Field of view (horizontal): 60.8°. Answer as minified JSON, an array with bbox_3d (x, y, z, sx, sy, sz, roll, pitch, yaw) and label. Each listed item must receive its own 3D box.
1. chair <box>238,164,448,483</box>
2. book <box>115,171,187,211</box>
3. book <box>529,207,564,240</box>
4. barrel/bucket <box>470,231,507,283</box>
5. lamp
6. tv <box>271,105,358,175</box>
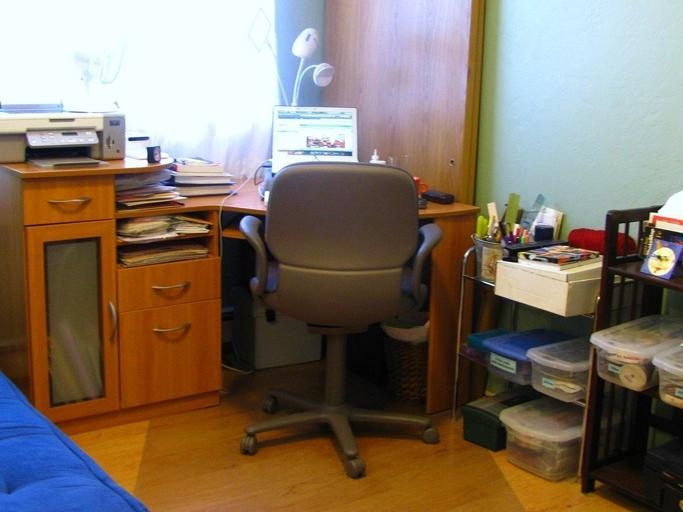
[{"bbox_3d":[-0.016,0.196,2.444,0.809,1.102,0.840,6,6,39],"label":"chair"},{"bbox_3d":[-0.784,-0.287,2.478,0.185,0.137,0.317,7,16,29],"label":"book"},{"bbox_3d":[0.865,-0.122,2.435,0.118,0.109,0.089,-17,19,-41],"label":"book"},{"bbox_3d":[0.613,0.000,2.436,0.170,0.182,0.177,1,9,0],"label":"barrel/bucket"},{"bbox_3d":[-0.186,-0.934,3.030,0.326,0.466,0.158,7,22,16],"label":"lamp"},{"bbox_3d":[-0.124,-0.483,2.952,0.484,0.330,0.372,0,2,-5],"label":"tv"}]
